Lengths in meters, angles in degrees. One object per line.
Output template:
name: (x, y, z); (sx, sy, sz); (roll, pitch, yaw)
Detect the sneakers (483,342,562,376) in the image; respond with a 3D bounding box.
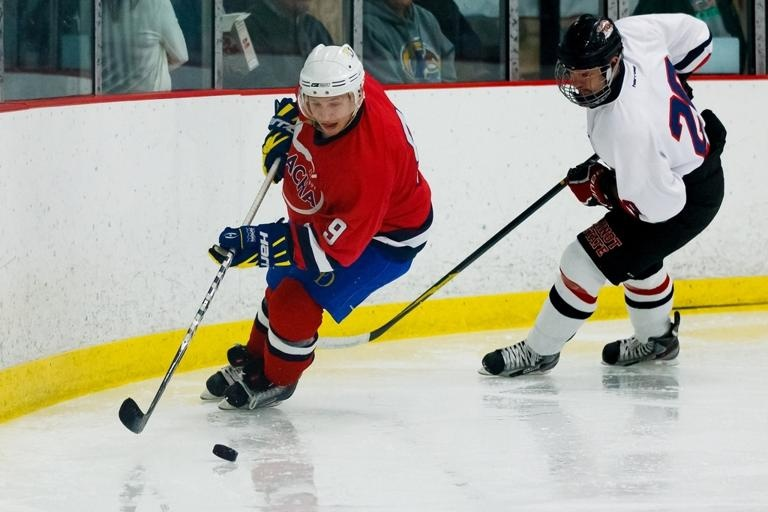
sneakers: (0.662, 0.546, 4.762); (0.447, 0.160, 0.189); (-6, -12, -5)

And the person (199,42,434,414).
person: (-0.298, -0.097, 4.098); (0.922, 1.639, 0.489); (4, 16, 16)

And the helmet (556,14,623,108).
helmet: (0.919, -0.874, 4.151); (0.279, 0.400, 0.135); (4, 15, 13)

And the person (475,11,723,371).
person: (1.161, -0.238, 4.434); (1.023, 1.783, 0.553); (-6, 16, -20)

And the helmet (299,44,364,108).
helmet: (-0.214, -0.768, 3.817); (0.246, 0.231, 0.262); (0, 33, 8)

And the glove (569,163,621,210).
glove: (1.020, -0.341, 4.490); (0.162, 0.107, 0.264); (-35, 26, 9)

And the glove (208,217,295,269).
glove: (-0.564, -0.057, 4.002); (0.385, 0.212, 0.118); (4, 15, 13)

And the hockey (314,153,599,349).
hockey: (0.342, -0.011, 4.801); (1.431, 0.110, 0.227); (-42, 29, 11)

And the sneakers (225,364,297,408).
sneakers: (-0.511, 0.596, 4.246); (0.388, 0.141, 0.165); (-5, 4, 10)

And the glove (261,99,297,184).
glove: (-0.483, -0.531, 4.271); (0.105, 0.361, 0.206); (14, -6, -38)
